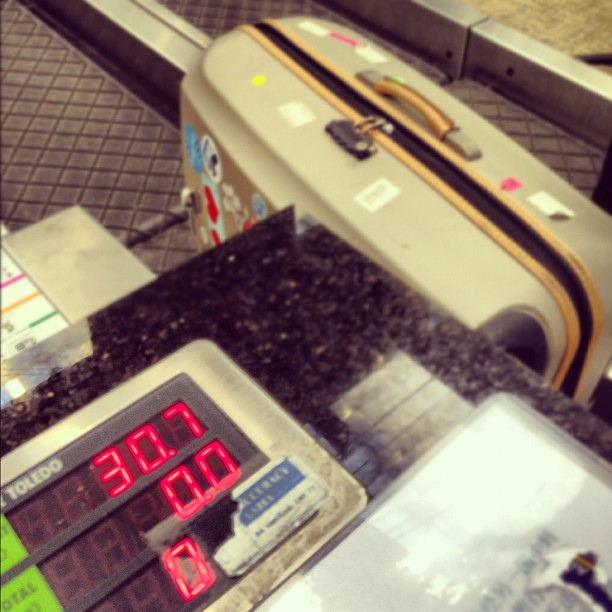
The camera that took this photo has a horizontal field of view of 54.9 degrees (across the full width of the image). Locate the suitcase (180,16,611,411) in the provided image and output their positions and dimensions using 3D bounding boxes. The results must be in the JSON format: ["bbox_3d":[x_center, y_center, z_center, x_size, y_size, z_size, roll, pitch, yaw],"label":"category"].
[{"bbox_3d":[0.101,-0.149,0.780,0.349,0.566,0.336,-27,-9,-17],"label":"suitcase"}]
